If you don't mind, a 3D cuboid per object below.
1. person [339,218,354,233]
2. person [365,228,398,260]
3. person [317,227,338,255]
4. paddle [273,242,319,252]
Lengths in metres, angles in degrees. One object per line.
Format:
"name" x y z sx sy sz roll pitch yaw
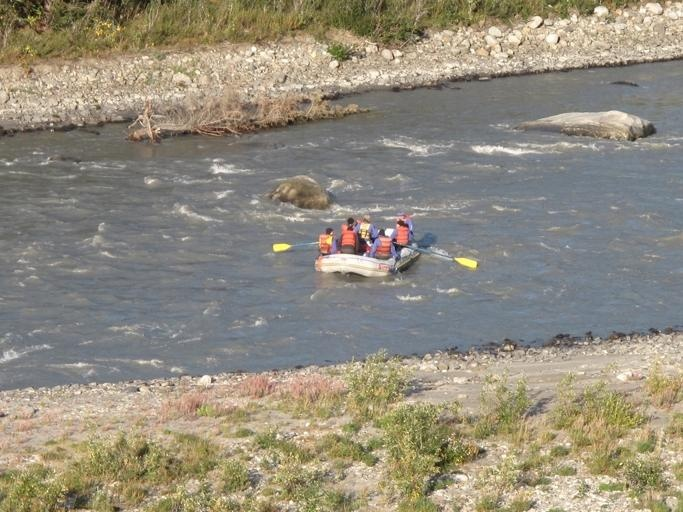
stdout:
"person" 0.393 -1.346 60.680 0.585 0.329 0.770 1 18 5
"person" 1.793 -0.454 60.268 1.357 1.188 0.719 6 12 -8
"person" -0.590 -0.583 60.630 1.169 1.132 0.689 8 16 31
"paddle" -2.158 -0.402 61.991 1.876 0.382 0.876 -4 12 -3
